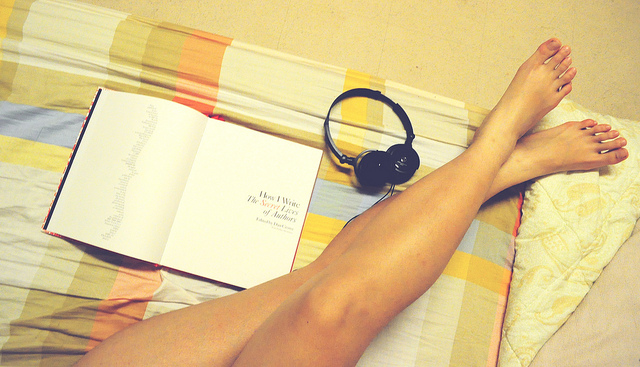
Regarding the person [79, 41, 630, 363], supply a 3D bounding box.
[{"bbox_3d":[0.135,0.109,1.672,1.661,1.140,0.439,-3,29,-24],"label":"person"}]
